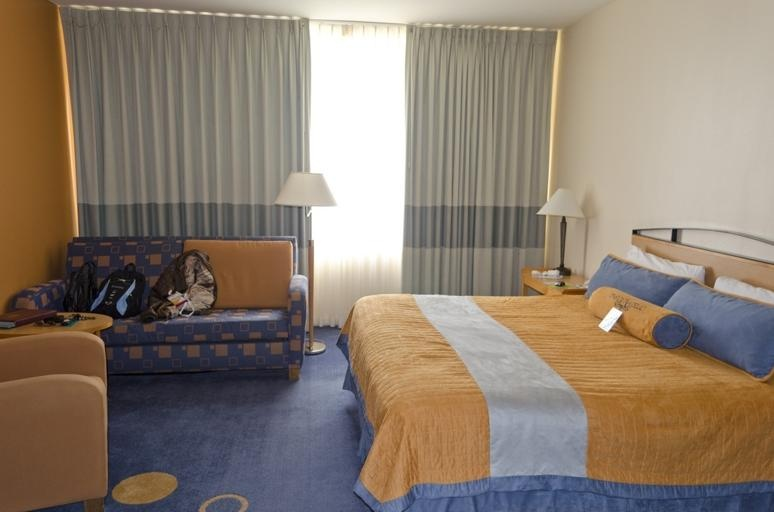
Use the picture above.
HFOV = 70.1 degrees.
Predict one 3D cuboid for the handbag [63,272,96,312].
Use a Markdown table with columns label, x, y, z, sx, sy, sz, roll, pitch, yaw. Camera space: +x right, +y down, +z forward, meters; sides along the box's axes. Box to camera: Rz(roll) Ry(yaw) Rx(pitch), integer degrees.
| label | x | y | z | sx | sy | sz | roll | pitch | yaw |
| --- | --- | --- | --- | --- | --- | --- | --- | --- | --- |
| handbag | -2.962 | 0.357 | 5.303 | 0.293 | 0.409 | 0.219 | 6 | -19 | -8 |

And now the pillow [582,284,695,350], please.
| label | x | y | z | sx | sy | sz | roll | pitch | yaw |
| --- | --- | --- | --- | --- | --- | --- | --- | --- | --- |
| pillow | 1.934 | 0.473 | 4.195 | 0.303 | 0.348 | 0.877 | 13 | 10 | -17 |

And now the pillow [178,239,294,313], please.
| label | x | y | z | sx | sy | sz | roll | pitch | yaw |
| --- | --- | --- | --- | --- | --- | --- | --- | --- | --- |
| pillow | -1.422 | 0.146 | 5.770 | 1.260 | 0.797 | 0.676 | 0 | 1 | -5 |
